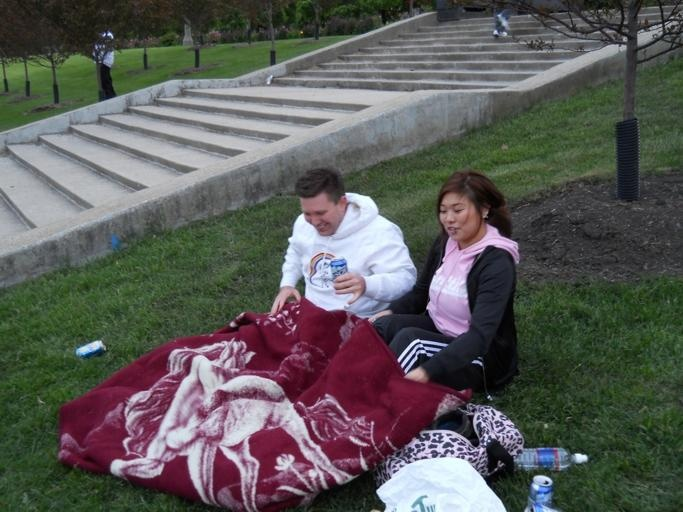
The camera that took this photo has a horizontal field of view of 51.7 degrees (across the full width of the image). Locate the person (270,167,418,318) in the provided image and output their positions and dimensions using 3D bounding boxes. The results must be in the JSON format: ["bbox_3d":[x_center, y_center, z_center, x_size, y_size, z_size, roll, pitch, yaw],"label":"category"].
[{"bbox_3d":[-0.030,-0.096,7.071,1.590,1.510,1.107,14,24,42],"label":"person"}]

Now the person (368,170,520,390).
[{"bbox_3d":[1.000,0.295,6.136,1.171,1.902,1.061,-5,18,0],"label":"person"}]

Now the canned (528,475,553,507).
[{"bbox_3d":[1.546,1.799,5.414,0.174,0.244,0.111,-5,18,1],"label":"canned"}]
